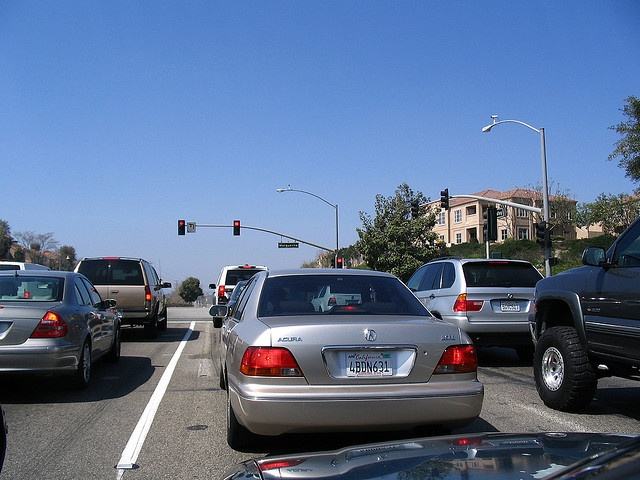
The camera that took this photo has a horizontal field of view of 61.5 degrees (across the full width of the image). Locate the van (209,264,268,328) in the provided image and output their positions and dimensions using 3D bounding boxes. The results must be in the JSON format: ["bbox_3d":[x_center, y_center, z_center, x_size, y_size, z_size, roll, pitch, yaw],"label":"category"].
[{"bbox_3d":[-2.933,1.994,18.473,2.238,2.344,3.963,0,0,-8],"label":"van"}]

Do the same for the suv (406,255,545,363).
[{"bbox_3d":[3.127,1.121,9.929,1.387,1.319,3.104,1,-3,-10],"label":"suv"}]

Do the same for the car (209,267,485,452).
[{"bbox_3d":[0.253,0.982,4.863,1.382,1.049,3.094,0,-4,-9],"label":"car"}]
